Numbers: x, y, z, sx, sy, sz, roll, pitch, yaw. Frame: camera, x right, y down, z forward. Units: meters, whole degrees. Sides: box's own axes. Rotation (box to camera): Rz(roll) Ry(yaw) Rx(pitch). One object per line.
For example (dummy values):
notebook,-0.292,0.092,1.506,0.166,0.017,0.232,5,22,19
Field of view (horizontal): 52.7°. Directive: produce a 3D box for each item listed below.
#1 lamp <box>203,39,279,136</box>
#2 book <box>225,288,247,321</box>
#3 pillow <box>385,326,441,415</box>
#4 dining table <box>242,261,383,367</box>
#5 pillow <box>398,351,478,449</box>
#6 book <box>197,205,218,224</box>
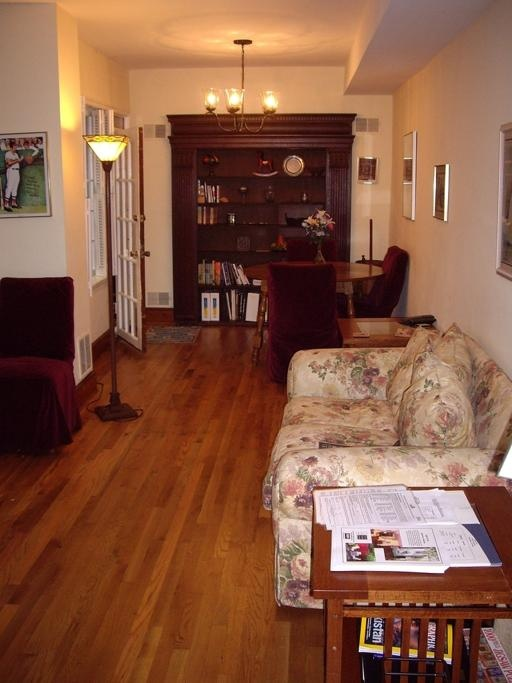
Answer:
lamp,-0.169,-2.915,5.949,0.746,1.006,0.792,10,29,11
book,-0.226,-0.503,7.144,0.365,0.563,0.348,1,10,1
pillow,0.743,0.156,2.574,0.116,0.406,0.398,19,32,9
dining table,0.655,-0.229,5.578,1.133,0.759,1.189,0,16,3
pillow,0.678,0.222,1.892,0.133,0.114,0.336,-15,23,18
book,-0.646,-1.653,6.836,0.271,0.288,0.207,1,9,1
